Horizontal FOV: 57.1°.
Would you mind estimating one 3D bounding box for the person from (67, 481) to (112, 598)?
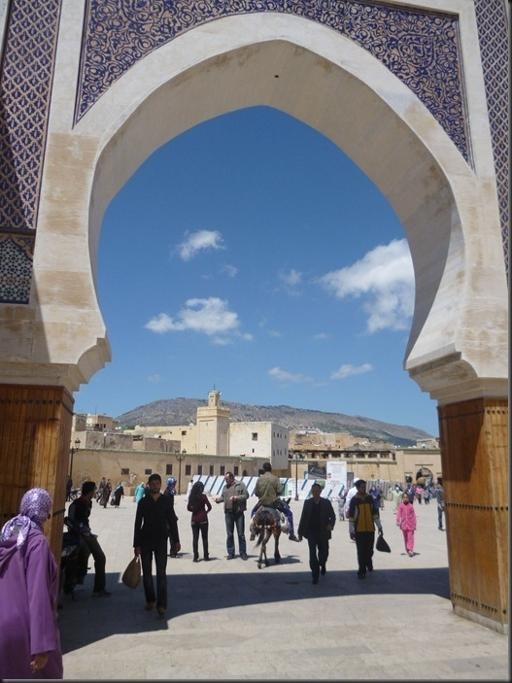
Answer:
[{"bbox_3d":[-1.765,2.040,4.894,0.440,1.173,0.689,3,-11,-18],"label":"person"}]

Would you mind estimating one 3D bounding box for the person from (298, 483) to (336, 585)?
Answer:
[{"bbox_3d":[0.782,2.457,6.109,0.491,1.220,1.358,-2,-11,8],"label":"person"}]

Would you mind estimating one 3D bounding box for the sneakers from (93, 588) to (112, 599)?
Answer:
[{"bbox_3d":[-1.560,2.526,4.757,0.184,0.136,0.068,1,-3,-8],"label":"sneakers"}]

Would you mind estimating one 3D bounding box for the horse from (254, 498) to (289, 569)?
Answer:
[{"bbox_3d":[0.189,2.810,6.903,0.546,0.929,0.908,-1,-11,0],"label":"horse"}]

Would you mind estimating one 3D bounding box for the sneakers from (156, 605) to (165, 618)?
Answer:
[{"bbox_3d":[-0.796,2.231,3.917,0.046,0.065,0.142,6,-6,-6],"label":"sneakers"}]

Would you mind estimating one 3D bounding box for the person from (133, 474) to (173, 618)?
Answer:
[{"bbox_3d":[-0.926,1.827,4.343,0.388,1.206,0.852,1,-11,-9],"label":"person"}]
